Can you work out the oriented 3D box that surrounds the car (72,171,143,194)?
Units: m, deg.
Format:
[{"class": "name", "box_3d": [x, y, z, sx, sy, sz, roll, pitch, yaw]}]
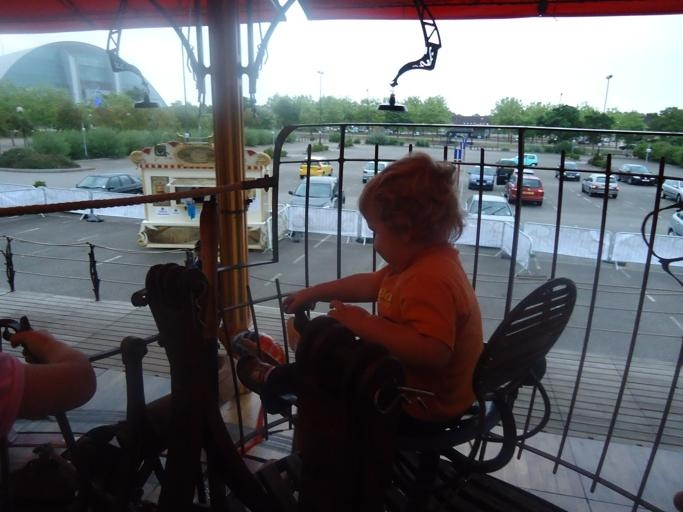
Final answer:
[{"class": "car", "box_3d": [-8.442, -2.658, 18.452, 1.755, 0.726, 2.350, 7, 15, 29]}]

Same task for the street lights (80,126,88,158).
[{"class": "street lights", "box_3d": [-16.552, -7.196, 32.272, 0.276, 1.695, 0.885, -7, 15, -26]}]

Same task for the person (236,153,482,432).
[{"class": "person", "box_3d": [0.122, 0.073, 2.420, 1.149, 1.213, 0.845, 3, 9, 30]}]

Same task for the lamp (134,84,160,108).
[{"class": "lamp", "box_3d": [-3.831, -3.144, 9.800, 0.373, 0.439, 0.886, -5, 14, -19]}]
